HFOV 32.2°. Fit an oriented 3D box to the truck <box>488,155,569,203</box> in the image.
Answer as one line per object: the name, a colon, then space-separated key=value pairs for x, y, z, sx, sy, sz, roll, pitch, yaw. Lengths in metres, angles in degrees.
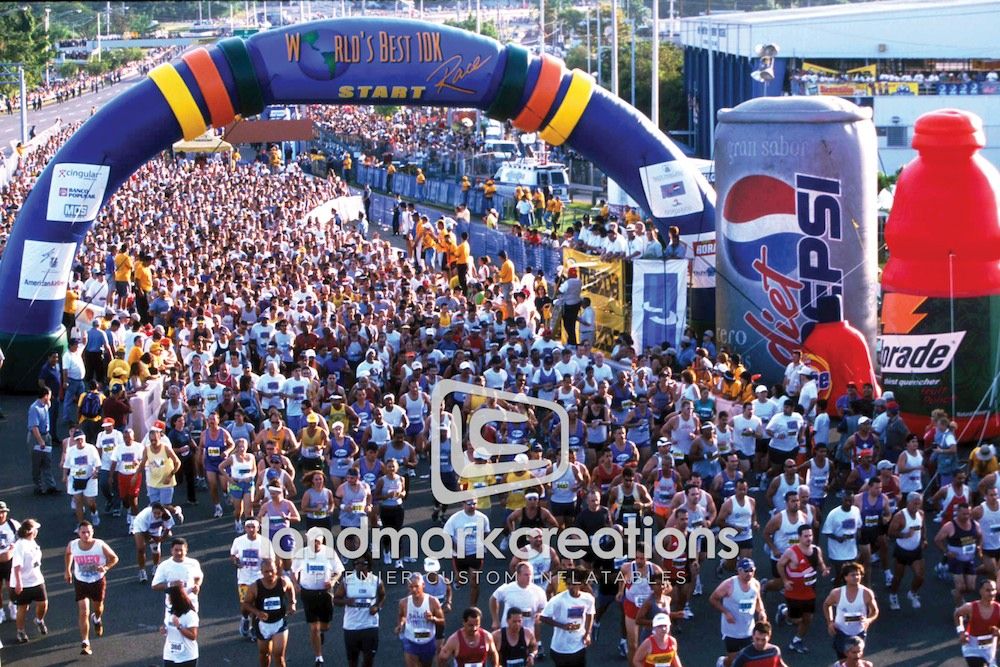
truck: x=0.980 y=-6.459 z=68.037 sx=1.608 sy=1.547 sz=2.739 roll=-16 pitch=34 yaw=-34
